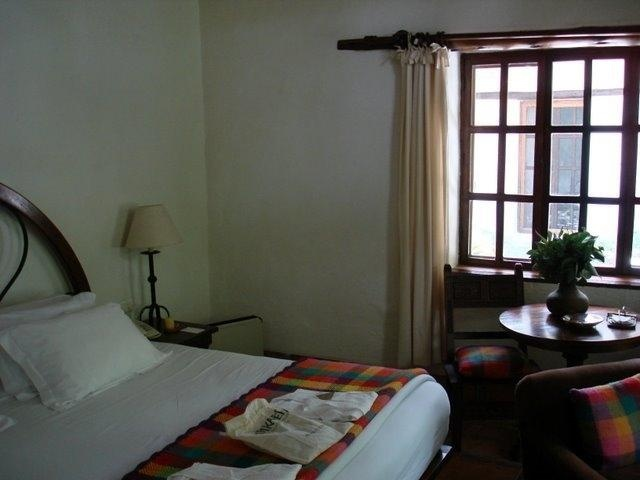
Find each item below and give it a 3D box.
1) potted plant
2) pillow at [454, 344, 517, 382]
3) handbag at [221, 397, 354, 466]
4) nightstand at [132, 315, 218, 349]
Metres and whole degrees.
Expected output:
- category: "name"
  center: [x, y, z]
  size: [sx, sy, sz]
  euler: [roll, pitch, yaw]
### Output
- category: "potted plant"
  center: [1.701, 0.230, 3.521]
  size: [0.459, 0.533, 0.446]
  euler: [-4, 0, -20]
- category: "pillow"
  center: [1.125, 0.820, 3.512]
  size: [0.250, 0.101, 0.257]
  euler: [-1, 4, 5]
- category: "handbag"
  center: [-0.160, 0.883, 2.474]
  size: [0.540, 0.134, 0.320]
  euler: [2, 8, 30]
- category: "nightstand"
  center: [-1.077, 0.693, 3.892]
  size: [0.336, 0.210, 0.345]
  euler: [5, 8, 35]
